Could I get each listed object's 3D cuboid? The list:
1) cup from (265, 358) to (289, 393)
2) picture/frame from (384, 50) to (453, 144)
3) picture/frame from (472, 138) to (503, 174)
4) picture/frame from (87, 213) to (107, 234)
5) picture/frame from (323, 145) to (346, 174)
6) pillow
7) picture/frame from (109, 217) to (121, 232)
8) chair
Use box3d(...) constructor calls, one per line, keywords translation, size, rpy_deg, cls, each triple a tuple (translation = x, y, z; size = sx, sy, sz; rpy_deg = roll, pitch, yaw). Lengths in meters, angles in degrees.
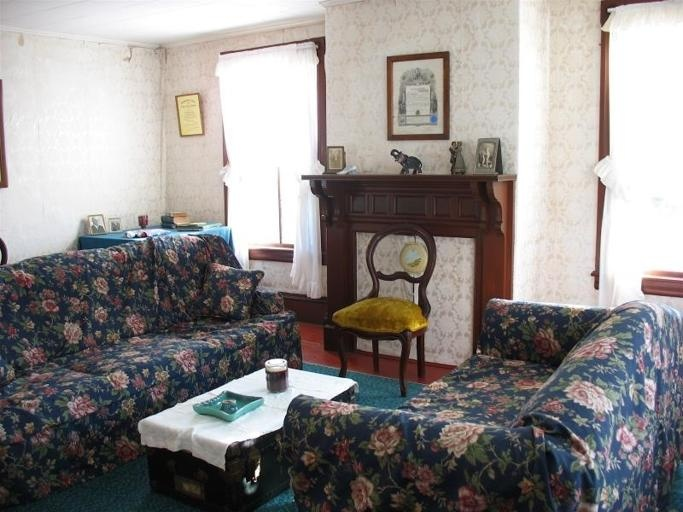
box3d(translation=(-0.366, 0.672, 3.064), size=(0.149, 0.193, 0.158), rpy_deg=(-1, 1, 0), cls="cup")
box3d(translation=(0.643, -1.312, 4.328), size=(0.713, 0.976, 0.035), rpy_deg=(2, 7, 27), cls="picture/frame")
box3d(translation=(1.114, -0.763, 4.082), size=(0.167, 0.268, 0.142), rpy_deg=(7, 13, 33), cls="picture/frame")
box3d(translation=(-2.665, -0.351, 5.797), size=(0.021, 0.228, 0.203), rpy_deg=(-7, -9, 29), cls="picture/frame")
box3d(translation=(-0.060, -0.848, 4.650), size=(0.182, 0.174, 0.086), rpy_deg=(-13, 6, -1), cls="picture/frame")
box3d(translation=(-0.889, 0.260, 4.170), size=(0.542, 0.154, 0.606), rpy_deg=(-2, 48, -5), cls="pillow")
box3d(translation=(-2.534, -0.355, 5.962), size=(0.011, 0.168, 0.154), rpy_deg=(-8, -2, 39), cls="picture/frame")
box3d(translation=(0.366, 0.381, 4.182), size=(0.641, 1.255, 0.716), rpy_deg=(-6, 9, -44), cls="chair")
